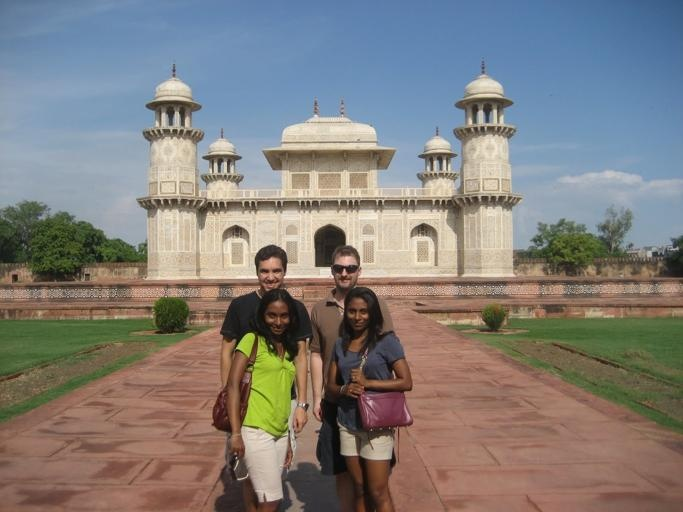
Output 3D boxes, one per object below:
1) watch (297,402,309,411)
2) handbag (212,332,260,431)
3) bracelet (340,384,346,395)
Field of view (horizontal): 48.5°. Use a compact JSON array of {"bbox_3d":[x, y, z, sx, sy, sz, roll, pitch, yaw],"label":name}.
[{"bbox_3d":[-0.325,1.243,6.298,0.094,0.048,0.074,1,2,39],"label":"watch"},{"bbox_3d":[-0.842,1.018,6.042,0.350,0.748,0.155,-1,-2,-3],"label":"handbag"},{"bbox_3d":[0.016,1.060,6.043,0.015,0.056,0.056,14,36,7],"label":"bracelet"}]
